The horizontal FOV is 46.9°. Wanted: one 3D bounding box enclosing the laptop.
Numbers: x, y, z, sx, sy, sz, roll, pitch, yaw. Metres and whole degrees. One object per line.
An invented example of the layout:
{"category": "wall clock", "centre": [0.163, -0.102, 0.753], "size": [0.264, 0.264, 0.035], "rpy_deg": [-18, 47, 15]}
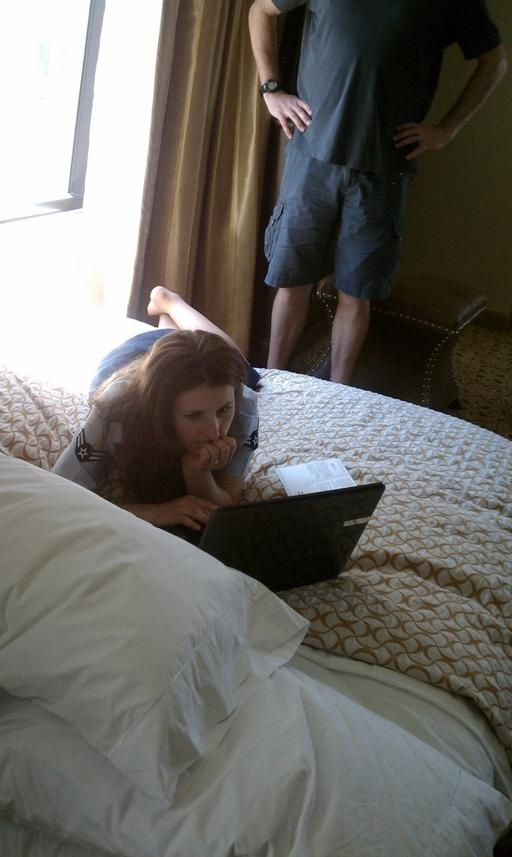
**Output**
{"category": "laptop", "centre": [0.026, 0.155, 0.910], "size": [0.266, 0.184, 0.196], "rpy_deg": [-4, 43, -39]}

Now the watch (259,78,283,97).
{"category": "watch", "centre": [0.043, -1.017, 1.753], "size": [0.062, 0.045, 0.062], "rpy_deg": [-18, 21, -33]}

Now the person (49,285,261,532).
{"category": "person", "centre": [-0.280, -0.155, 1.418], "size": [0.330, 0.430, 0.982], "rpy_deg": [7, 27, -24]}
